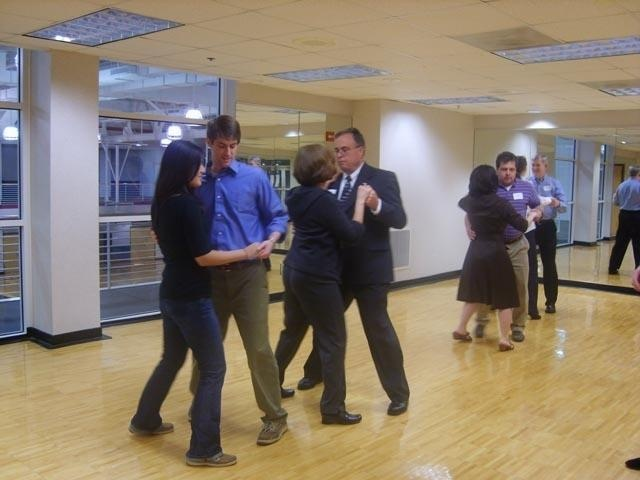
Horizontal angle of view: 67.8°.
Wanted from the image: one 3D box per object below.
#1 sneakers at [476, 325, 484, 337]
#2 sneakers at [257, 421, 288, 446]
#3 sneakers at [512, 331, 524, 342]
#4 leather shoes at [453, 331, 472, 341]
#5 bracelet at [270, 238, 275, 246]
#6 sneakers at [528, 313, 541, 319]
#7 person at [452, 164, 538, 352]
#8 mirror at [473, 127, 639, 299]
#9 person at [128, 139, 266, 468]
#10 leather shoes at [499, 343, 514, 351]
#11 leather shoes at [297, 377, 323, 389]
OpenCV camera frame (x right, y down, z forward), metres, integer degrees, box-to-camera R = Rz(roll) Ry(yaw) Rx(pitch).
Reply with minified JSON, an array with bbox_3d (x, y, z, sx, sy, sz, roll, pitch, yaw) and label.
[{"bbox_3d":[2.015,1.142,5.969,0.120,0.110,0.209,-1,1,17],"label":"sneakers"},{"bbox_3d":[-0.332,1.316,3.248,0.088,0.107,0.257,-1,-4,24],"label":"sneakers"},{"bbox_3d":[2.377,1.145,5.670,0.147,0.140,0.092,-2,-3,33],"label":"sneakers"},{"bbox_3d":[1.700,1.143,5.688,0.279,0.106,0.100,6,5,-28],"label":"leather shoes"},{"bbox_3d":[-0.308,0.004,3.100,0.009,0.035,0.037,-14,8,19],"label":"bracelet"},{"bbox_3d":[3.020,1.051,6.666,0.143,0.131,0.078,0,6,0],"label":"sneakers"},{"bbox_3d":[1.935,0.201,5.362,0.754,2.068,0.554,4,7,28],"label":"person"},{"bbox_3d":[3.808,-0.354,7.237,2.695,2.059,0.099,18,3,13],"label":"mirror"},{"bbox_3d":[-0.838,0.396,3.008,0.691,2.001,0.436,6,8,40],"label":"person"},{"bbox_3d":[2.079,1.179,5.305,0.152,0.102,0.077,-3,8,-17],"label":"leather shoes"},{"bbox_3d":[-0.093,1.255,4.196,0.078,0.082,0.214,-6,-9,39],"label":"leather shoes"}]
